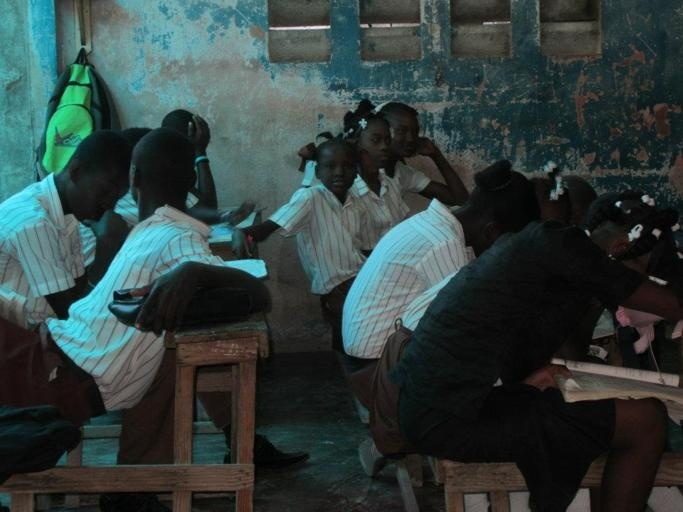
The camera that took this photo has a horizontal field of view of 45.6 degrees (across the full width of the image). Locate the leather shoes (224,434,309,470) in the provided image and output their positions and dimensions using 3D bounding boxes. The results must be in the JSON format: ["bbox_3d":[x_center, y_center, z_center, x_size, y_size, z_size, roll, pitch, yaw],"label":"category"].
[{"bbox_3d":[-0.403,1.028,4.327,0.444,0.201,0.141,-1,-26,-9],"label":"leather shoes"}]

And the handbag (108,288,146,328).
[{"bbox_3d":[-0.879,0.200,3.334,0.071,0.118,0.175,-27,39,-27],"label":"handbag"}]
